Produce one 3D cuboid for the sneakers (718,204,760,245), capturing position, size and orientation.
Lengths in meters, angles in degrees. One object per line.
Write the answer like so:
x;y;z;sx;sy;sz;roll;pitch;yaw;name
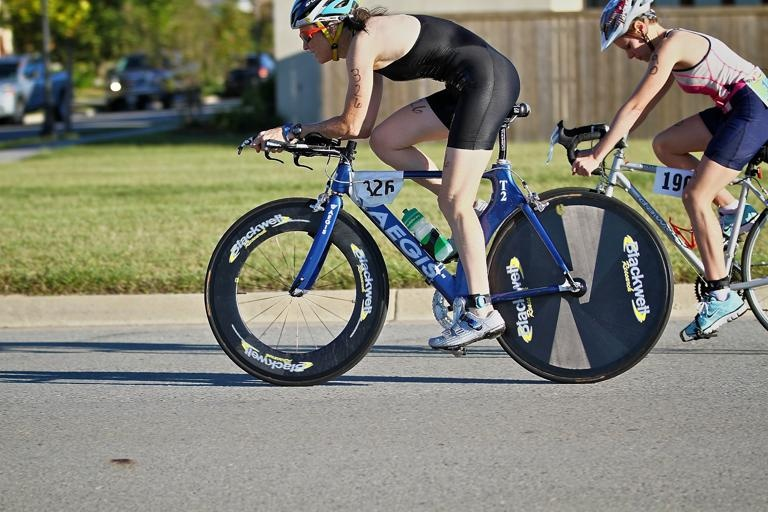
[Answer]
2.623;-0.227;8.356;0.293;0.182;0.102;-43;13;6;sneakers
